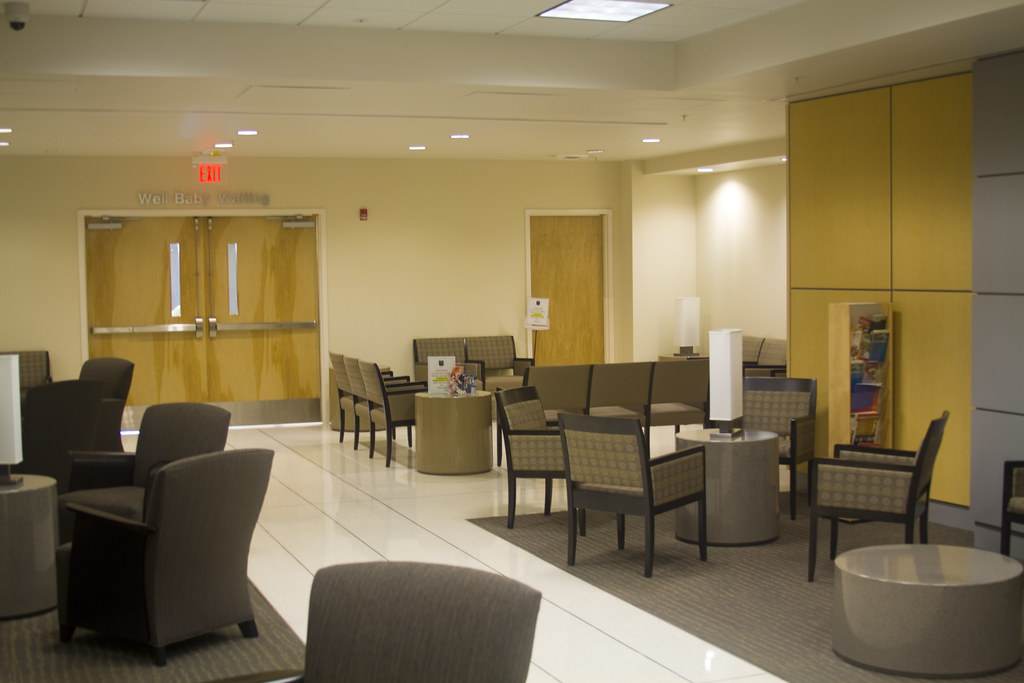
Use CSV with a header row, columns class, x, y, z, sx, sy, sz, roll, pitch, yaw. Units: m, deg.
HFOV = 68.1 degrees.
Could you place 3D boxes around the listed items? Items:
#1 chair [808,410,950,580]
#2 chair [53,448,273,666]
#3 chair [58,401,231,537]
class,x,y,z,sx,sy,sz,roll,pitch,yaw
chair,2.992,1.216,6.165,0.992,1.229,1.095,-3,1,-43
chair,-2.331,1.331,5.173,1.302,1.183,1.250,2,-4,-13
chair,-2.851,1.128,5.821,0.941,1.268,1.146,4,-2,20
